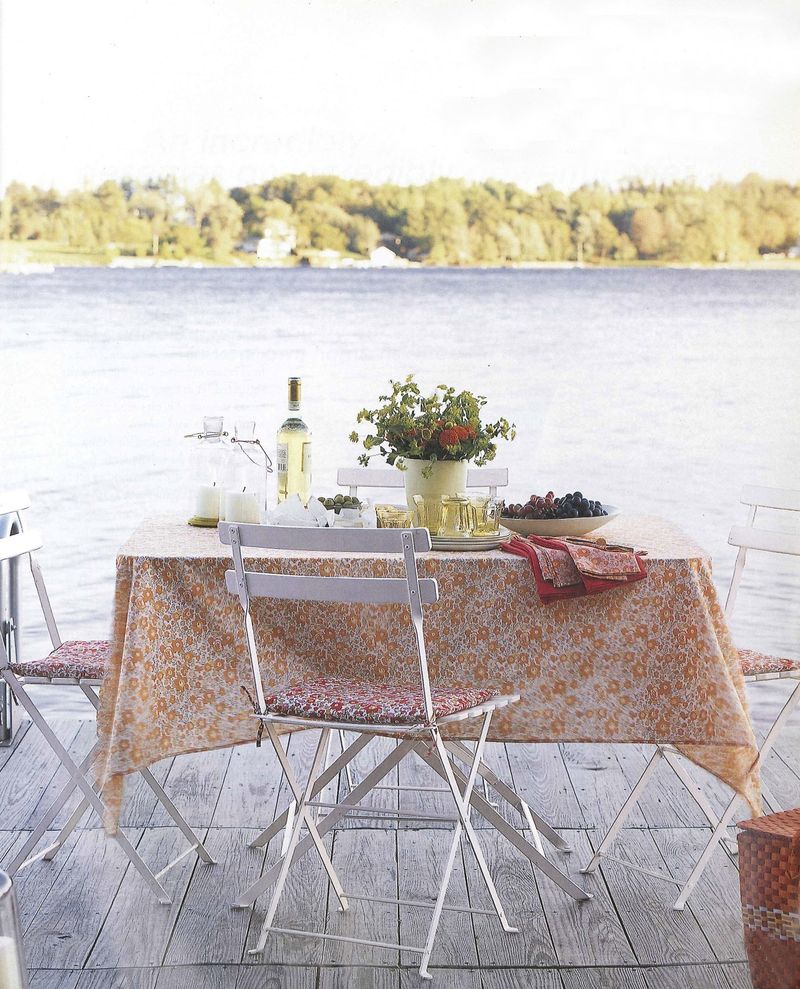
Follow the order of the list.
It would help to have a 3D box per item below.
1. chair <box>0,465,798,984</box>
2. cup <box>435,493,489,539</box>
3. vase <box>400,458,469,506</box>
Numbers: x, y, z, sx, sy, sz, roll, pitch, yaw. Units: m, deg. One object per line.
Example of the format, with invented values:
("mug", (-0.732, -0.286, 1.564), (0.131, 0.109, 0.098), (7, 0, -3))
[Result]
("chair", (0.055, 0.403, 2.317), (1.126, 0.621, 1.032), (0, -1, 2))
("cup", (0.141, 0.042, 2.108), (0.090, 0.071, 0.092), (0, 7, 0))
("vase", (0.074, -0.031, 2.160), (0.104, 0.082, 0.099), (2, 4, 21))
